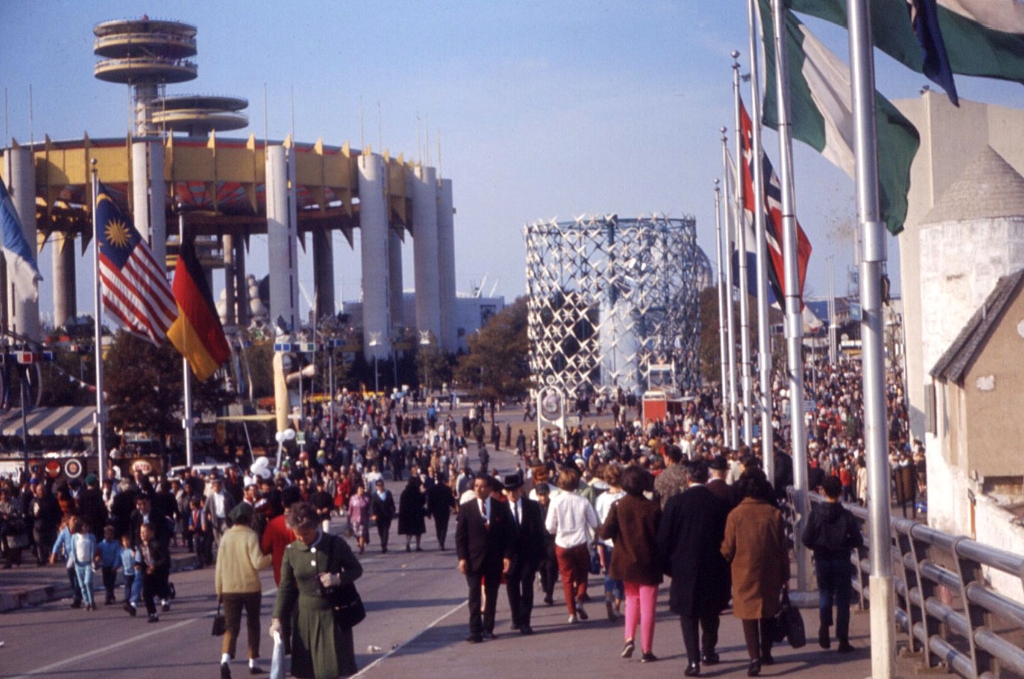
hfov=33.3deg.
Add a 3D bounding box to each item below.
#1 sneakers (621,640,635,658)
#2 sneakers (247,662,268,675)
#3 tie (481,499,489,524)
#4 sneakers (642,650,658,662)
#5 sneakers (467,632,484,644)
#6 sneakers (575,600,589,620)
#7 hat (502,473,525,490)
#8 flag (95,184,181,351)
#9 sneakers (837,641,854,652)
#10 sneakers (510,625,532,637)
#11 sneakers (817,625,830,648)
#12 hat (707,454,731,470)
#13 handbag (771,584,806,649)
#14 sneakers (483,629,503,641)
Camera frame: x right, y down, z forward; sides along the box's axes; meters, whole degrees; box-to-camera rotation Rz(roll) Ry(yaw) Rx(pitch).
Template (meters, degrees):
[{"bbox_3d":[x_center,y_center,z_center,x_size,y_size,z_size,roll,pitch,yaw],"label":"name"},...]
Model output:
[{"bbox_3d":[1.942,5.322,29.164,0.230,0.284,0.276,-3,-4,2],"label":"sneakers"},{"bbox_3d":[-4.438,5.742,29.691,0.382,0.328,0.145,1,13,-4],"label":"sneakers"},{"bbox_3d":[-0.505,3.067,30.379,0.165,0.373,0.063,-2,-3,-8],"label":"tie"},{"bbox_3d":[2.312,5.409,29.001,0.104,0.154,0.312,1,-2,39],"label":"sneakers"},{"bbox_3d":[-0.680,5.288,30.121,0.281,0.154,0.110,2,0,31],"label":"sneakers"},{"bbox_3d":[1.212,4.935,30.915,0.126,0.425,0.153,-27,17,-10],"label":"sneakers"},{"bbox_3d":[-0.014,2.641,31.437,0.336,0.271,0.549,-3,-4,0],"label":"hat"},{"bbox_3d":[-9.256,-1.835,41.053,1.684,5.030,0.412,-5,40,2],"label":"flag"},{"bbox_3d":[5.606,5.211,28.882,0.299,0.247,0.109,-5,6,-36],"label":"sneakers"},{"bbox_3d":[0.149,5.205,30.466,0.378,0.173,0.212,-4,-4,13],"label":"sneakers"},{"bbox_3d":[5.274,5.083,29.070,0.128,0.444,0.277,-3,-3,5],"label":"sneakers"},{"bbox_3d":[3.595,2.201,30.137,0.321,0.276,0.754,-4,-4,8],"label":"hat"},{"bbox_3d":[4.612,4.726,28.774,0.451,1.421,1.016,-6,1,5],"label":"handbag"},{"bbox_3d":[-0.396,5.284,30.341,0.267,0.128,0.273,-3,-4,-2],"label":"sneakers"}]
